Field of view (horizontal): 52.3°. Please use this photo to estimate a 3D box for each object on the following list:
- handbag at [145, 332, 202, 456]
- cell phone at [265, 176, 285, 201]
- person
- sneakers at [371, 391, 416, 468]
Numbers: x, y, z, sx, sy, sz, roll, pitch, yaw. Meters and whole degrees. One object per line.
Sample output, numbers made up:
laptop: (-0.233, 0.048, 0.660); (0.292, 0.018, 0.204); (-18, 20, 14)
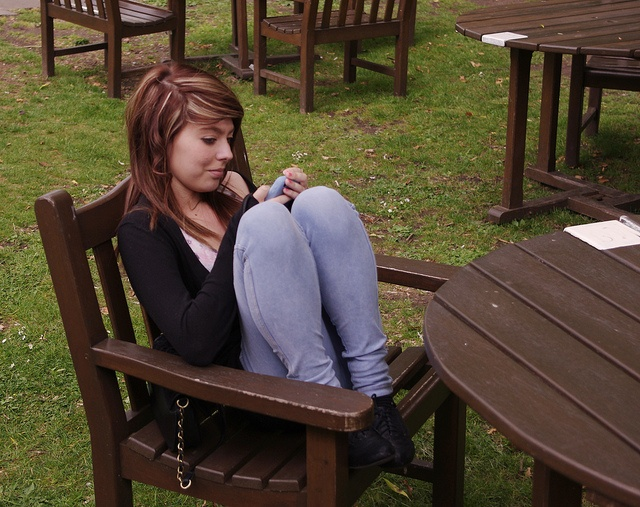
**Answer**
handbag: (-0.401, 0.395, 1.794); (0.080, 0.196, 0.292); (-7, 37, -20)
cell phone: (-0.147, -0.202, 2.068); (0.061, 0.089, 0.030); (15, -5, 0)
person: (-0.198, -0.003, 1.990); (0.897, 1.111, 0.691); (0, 13, 36)
sneakers: (0.186, 0.487, 1.873); (0.088, 0.086, 0.242); (-16, 25, -7)
